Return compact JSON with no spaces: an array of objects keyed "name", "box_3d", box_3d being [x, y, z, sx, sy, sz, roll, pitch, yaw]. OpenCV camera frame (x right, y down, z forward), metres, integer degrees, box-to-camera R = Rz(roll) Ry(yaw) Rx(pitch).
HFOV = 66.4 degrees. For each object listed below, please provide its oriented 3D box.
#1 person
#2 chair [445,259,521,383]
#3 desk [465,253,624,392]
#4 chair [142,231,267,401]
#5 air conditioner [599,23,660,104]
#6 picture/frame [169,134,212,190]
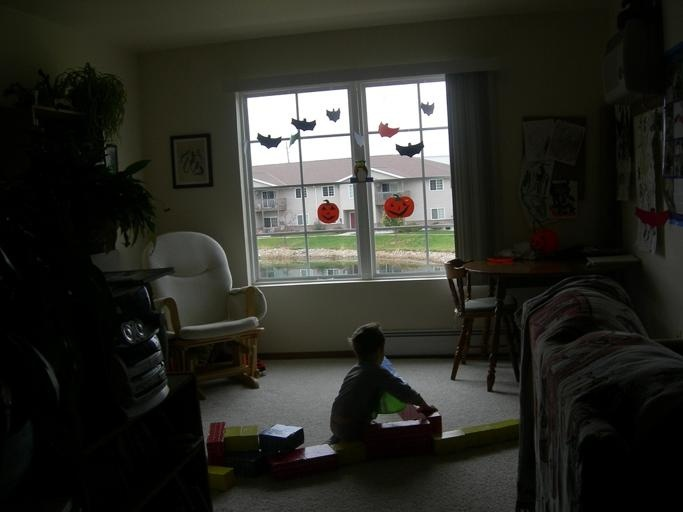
[{"name":"person","box_3d":[0.209,0.771,2.837,0.466,0.773,0.559,17,-20,-36]},{"name":"chair","box_3d":[1.005,0.434,3.796,0.531,0.687,0.554,-2,0,-14]},{"name":"desk","box_3d":[1.389,0.436,3.639,1.045,0.838,0.576,-2,5,6]},{"name":"chair","box_3d":[-1.014,0.400,3.888,0.802,1.121,0.918,-3,4,3]},{"name":"air conditioner","box_3d":[1.687,-1.113,3.087,0.208,0.400,0.413,2,2,10]},{"name":"picture/frame","box_3d":[-1.304,-0.830,4.510,0.426,0.554,0.021,0,2,4]}]
